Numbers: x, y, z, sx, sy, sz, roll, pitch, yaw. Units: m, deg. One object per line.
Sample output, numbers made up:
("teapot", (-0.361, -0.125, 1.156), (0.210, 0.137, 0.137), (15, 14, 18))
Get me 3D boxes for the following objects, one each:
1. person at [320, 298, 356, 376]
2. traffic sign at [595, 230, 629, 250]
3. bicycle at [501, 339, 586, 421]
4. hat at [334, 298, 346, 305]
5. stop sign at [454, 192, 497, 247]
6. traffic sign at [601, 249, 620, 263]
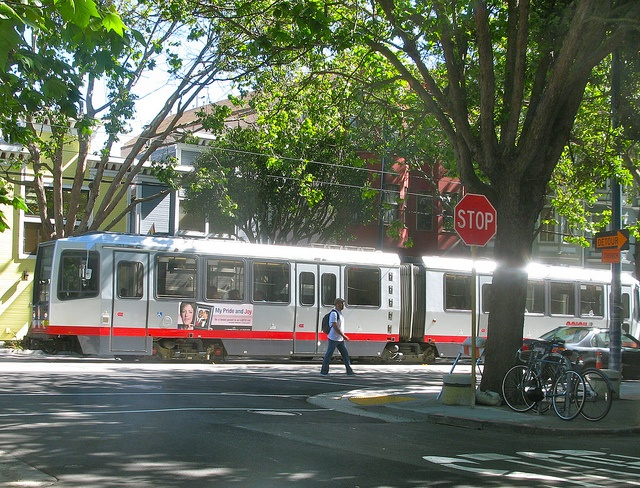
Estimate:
("person", (0.450, 2.451, 18.666), (0.769, 2.059, 0.996), (-1, -8, 15))
("traffic sign", (7.429, -0.090, 17.654), (0.310, 0.509, 0.979), (5, -10, -27))
("bicycle", (3.976, 2.385, 12.394), (0.750, 1.254, 2.168), (9, -8, -17))
("hat", (0.558, 1.578, 18.753), (0.268, 0.145, 0.191), (-16, 3, -12))
("stop sign", (2.753, -0.438, 12.442), (1.007, 0.986, 0.321), (7, -9, -34))
("traffic sign", (7.389, 0.294, 17.629), (0.059, 0.265, 0.346), (0, -2, -33))
